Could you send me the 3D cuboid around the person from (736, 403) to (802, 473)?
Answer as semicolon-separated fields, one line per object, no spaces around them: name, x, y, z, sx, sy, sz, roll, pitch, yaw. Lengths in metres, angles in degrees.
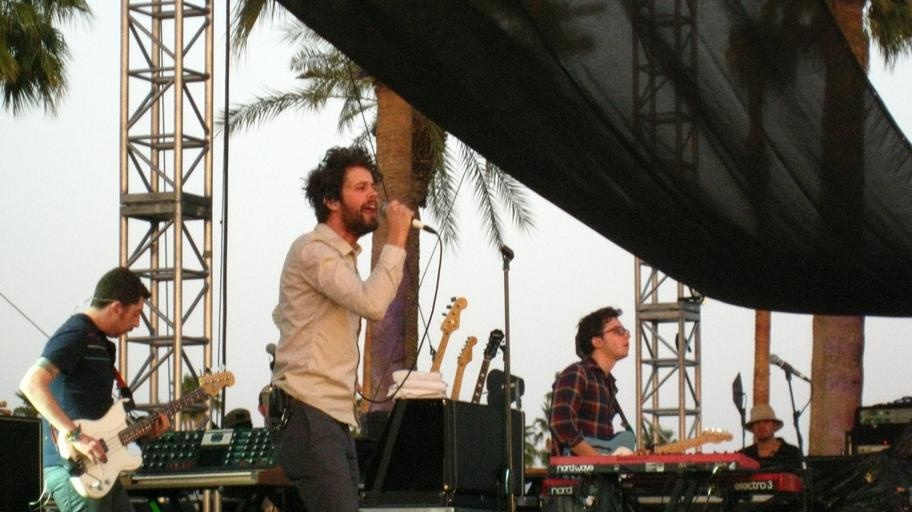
person;6.000;3.520;32.639;1.341;1.293;0.944;-6;-13;18

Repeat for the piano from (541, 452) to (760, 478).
piano;3.295;3.509;28.646;3.473;0.405;0.359;-3;-10;2

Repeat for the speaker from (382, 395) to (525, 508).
speaker;-0.061;3.155;27.494;1.799;1.420;1.880;-9;-18;41

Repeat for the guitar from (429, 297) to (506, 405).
guitar;0.177;2.005;34.622;0.992;2.591;0.458;34;44;25

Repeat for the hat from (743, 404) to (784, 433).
hat;5.965;3.143;32.708;0.507;0.299;0.554;-17;-31;36

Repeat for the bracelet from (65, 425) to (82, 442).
bracelet;-6.376;2.962;28.250;0.218;0.230;0.058;1;-10;-14

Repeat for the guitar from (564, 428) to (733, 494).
guitar;3.440;3.357;29.767;2.676;1.122;0.601;-11;33;7
